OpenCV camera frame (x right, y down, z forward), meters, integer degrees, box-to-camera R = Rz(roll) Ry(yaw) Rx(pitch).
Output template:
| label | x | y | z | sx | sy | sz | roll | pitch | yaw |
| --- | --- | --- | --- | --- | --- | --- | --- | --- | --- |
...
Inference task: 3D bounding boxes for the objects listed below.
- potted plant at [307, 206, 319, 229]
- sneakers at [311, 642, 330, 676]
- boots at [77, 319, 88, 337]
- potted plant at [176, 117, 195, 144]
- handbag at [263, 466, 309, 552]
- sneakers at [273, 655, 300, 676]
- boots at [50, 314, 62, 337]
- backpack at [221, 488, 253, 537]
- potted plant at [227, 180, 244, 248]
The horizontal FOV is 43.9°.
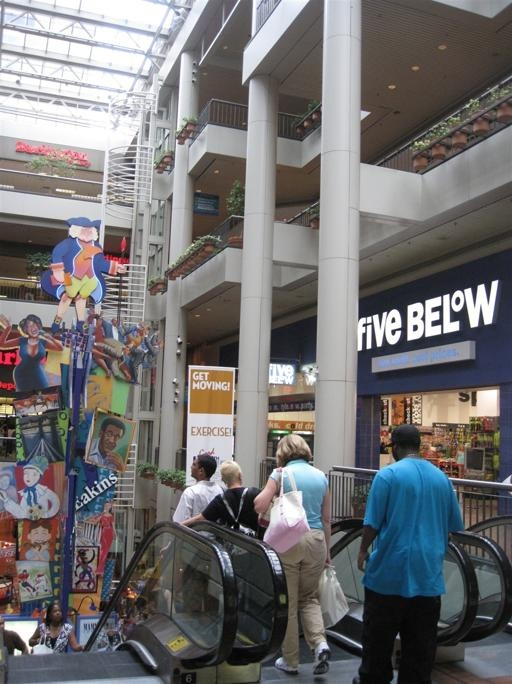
| label | x | y | z | sx | sy | sz | roll | pitch | yaw |
| --- | --- | --- | --- | --- | --- | --- | --- | --- | --- |
| potted plant | 1.382 | -2.986 | 15.393 | 0.211 | 0.487 | 0.479 | 1 | -9 | -6 |
| sneakers | 0.318 | 1.601 | 3.204 | 0.072 | 0.093 | 0.199 | 6 | -51 | 0 |
| boots | -2.952 | -0.228 | 10.734 | 0.190 | 0.255 | 0.094 | 2 | -14 | -44 |
| potted plant | -1.988 | -6.130 | 18.283 | 0.465 | 0.592 | 0.908 | 3 | -9 | -16 |
| handbag | 0.158 | 0.847 | 3.193 | 0.268 | 0.389 | 0.158 | -24 | -28 | 19 |
| sneakers | 0.155 | 1.718 | 3.385 | 0.060 | 0.066 | 0.139 | 2 | 7 | -41 |
| boots | -3.324 | -0.290 | 10.545 | 0.153 | 0.437 | 0.174 | 6 | -40 | -26 |
| backpack | -0.104 | 1.009 | 3.809 | 0.231 | 0.370 | 0.207 | -4 | -18 | 13 |
| potted plant | -0.518 | -3.311 | 16.152 | 0.380 | 1.835 | 0.854 | 1 | -9 | -3 |
